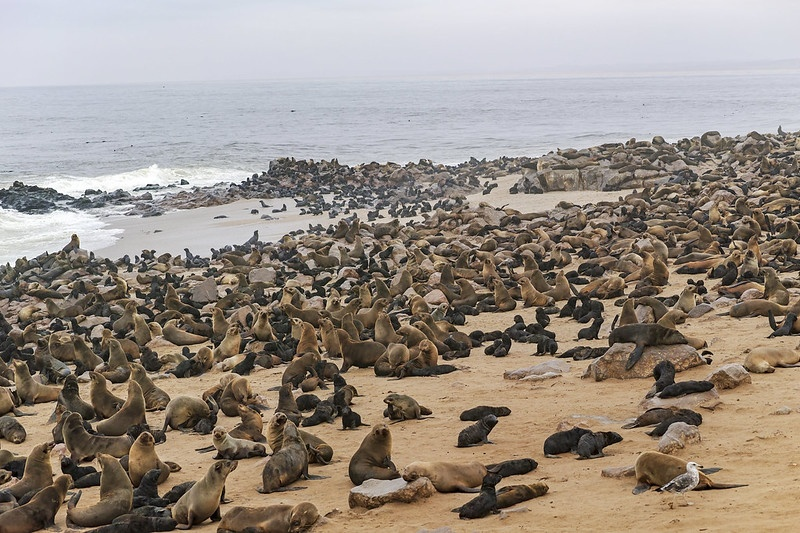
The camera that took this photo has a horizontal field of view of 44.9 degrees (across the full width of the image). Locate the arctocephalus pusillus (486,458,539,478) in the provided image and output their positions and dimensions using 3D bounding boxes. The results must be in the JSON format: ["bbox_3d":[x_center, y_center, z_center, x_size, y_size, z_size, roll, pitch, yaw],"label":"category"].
[{"bbox_3d":[2.079,3.675,17.713,0.623,0.386,0.226,-3,-21,-7],"label":"arctocephalus pusillus"}]

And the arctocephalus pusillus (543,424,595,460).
[{"bbox_3d":[3.066,3.279,18.269,1.086,0.484,0.377,-9,21,-5],"label":"arctocephalus pusillus"}]

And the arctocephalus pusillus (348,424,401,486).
[{"bbox_3d":[-0.506,3.478,17.976,0.910,1.056,0.791,-6,9,-9],"label":"arctocephalus pusillus"}]

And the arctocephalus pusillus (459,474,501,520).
[{"bbox_3d":[1.428,4.102,17.118,0.881,0.568,0.281,-30,29,-24],"label":"arctocephalus pusillus"}]
